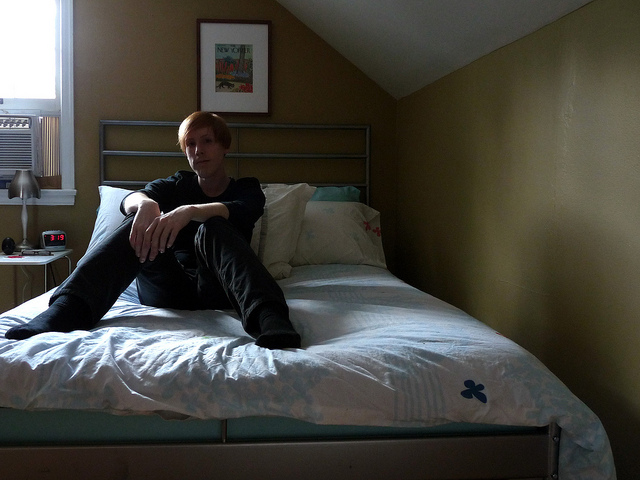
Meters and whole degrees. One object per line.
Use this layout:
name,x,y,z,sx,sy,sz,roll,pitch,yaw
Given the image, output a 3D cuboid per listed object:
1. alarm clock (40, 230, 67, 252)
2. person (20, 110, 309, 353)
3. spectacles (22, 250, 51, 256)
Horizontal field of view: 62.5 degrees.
alarm clock,-1.514,0.002,3.006,0.145,0.152,0.103,1,-6,-42
person,-0.505,-0.080,1.896,0.677,1.039,0.902,1,-17,-10
spectacles,-1.555,0.066,2.880,0.127,0.031,0.033,-5,10,-31
